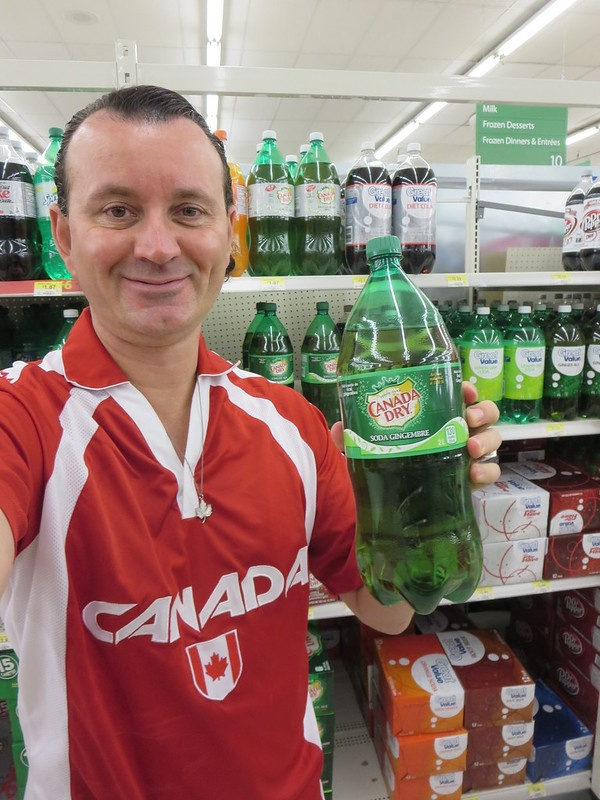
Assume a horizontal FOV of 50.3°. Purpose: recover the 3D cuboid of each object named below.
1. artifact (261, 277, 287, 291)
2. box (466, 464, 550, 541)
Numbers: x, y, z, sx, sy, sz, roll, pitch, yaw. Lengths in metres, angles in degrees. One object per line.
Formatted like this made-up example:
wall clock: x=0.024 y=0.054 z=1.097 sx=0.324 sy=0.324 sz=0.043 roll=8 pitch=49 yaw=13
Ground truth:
artifact: x=-0.072 y=-0.299 z=1.694 sx=0.049 sy=0.041 sz=0.011 roll=-6 pitch=-8 yaw=-10
box: x=0.622 y=0.358 z=2.079 sx=0.280 sy=0.148 sz=0.262 roll=-4 pitch=5 yaw=-11
